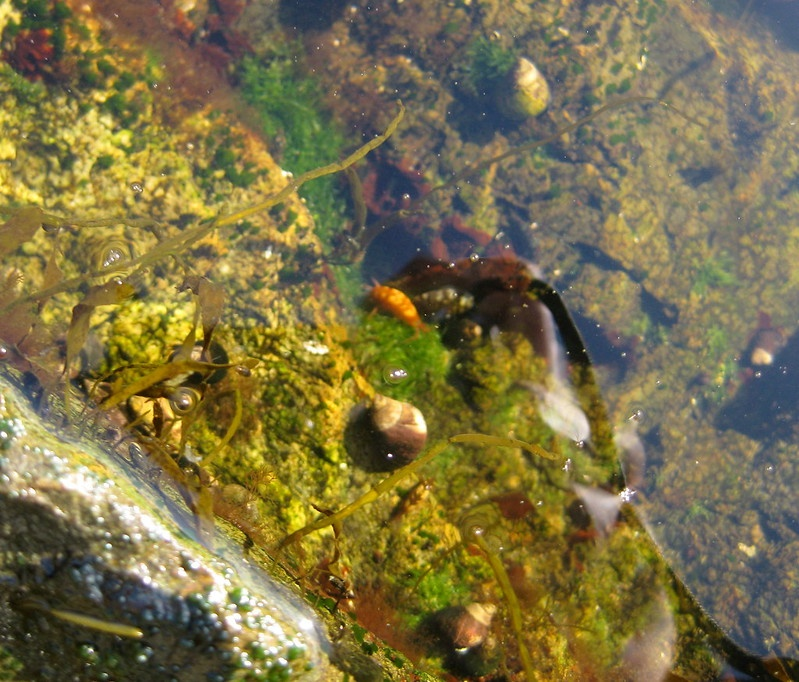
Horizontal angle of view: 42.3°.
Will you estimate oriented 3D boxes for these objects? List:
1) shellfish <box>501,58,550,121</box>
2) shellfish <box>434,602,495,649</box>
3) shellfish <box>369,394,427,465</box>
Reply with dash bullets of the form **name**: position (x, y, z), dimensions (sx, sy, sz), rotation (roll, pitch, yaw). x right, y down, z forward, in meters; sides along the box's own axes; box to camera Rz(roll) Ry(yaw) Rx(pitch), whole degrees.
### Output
- **shellfish**: position (0.741, -1.441, 5.991), dimensions (0.292, 0.202, 0.264), rotation (21, 50, -10)
- **shellfish**: position (0.297, 1.425, 5.093), dimensions (0.265, 0.176, 0.337), rotation (7, 23, -11)
- **shellfish**: position (-0.015, 0.461, 5.330), dimensions (0.339, 0.137, 0.285), rotation (31, 49, -3)
